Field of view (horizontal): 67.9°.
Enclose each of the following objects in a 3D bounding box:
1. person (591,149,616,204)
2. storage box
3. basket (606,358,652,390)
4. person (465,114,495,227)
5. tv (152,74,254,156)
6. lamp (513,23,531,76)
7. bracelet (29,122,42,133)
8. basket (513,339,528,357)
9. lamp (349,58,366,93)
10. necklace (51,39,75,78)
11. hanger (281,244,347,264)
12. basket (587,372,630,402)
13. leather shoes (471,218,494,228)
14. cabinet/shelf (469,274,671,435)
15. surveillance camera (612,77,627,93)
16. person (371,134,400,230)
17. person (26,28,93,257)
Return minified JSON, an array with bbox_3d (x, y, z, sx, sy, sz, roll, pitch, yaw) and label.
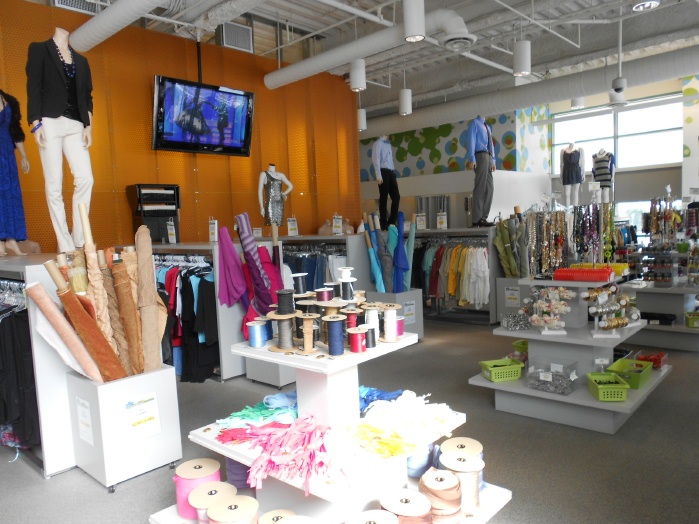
[{"bbox_3d":[4.383,-1.477,8.941,0.362,0.916,1.623,3,12,26],"label":"person"},{"bbox_3d":[-1.781,1.177,4.338,0.846,1.209,0.852,0,4,37],"label":"storage box"},{"bbox_3d":[2.638,1.012,4.827,0.255,0.141,0.384,1,2,42],"label":"basket"},{"bbox_3d":[2.201,-1.517,8.657,0.408,1.793,0.738,1,11,14],"label":"person"},{"bbox_3d":[-2.521,-2.454,8.717,1.533,0.953,0.201,-4,12,-45],"label":"tv"},{"bbox_3d":[2.690,-3.211,8.086,0.237,0.519,0.270,1,11,14],"label":"lamp"},{"bbox_3d":[-3.104,-1.351,5.165,0.090,0.104,0.083,43,-5,-26],"label":"bracelet"},{"bbox_3d":[1.813,0.909,5.467,0.132,0.078,0.166,6,9,42],"label":"basket"},{"bbox_3d":[0.138,-3.033,8.363,0.231,0.505,0.330,-3,11,-3],"label":"lamp"},{"bbox_3d":[-2.834,-2.036,5.215,0.064,0.267,0.182,-26,11,-14],"label":"necklace"},{"bbox_3d":[-0.544,-0.154,7.817,0.886,0.205,1.621,-3,11,-6],"label":"hanger"},{"bbox_3d":[2.212,1.044,4.479,0.207,0.117,0.291,0,8,2],"label":"basket"},{"bbox_3d":[2.228,-0.647,8.657,0.350,0.158,0.141,-3,2,27],"label":"leather shoes"},{"bbox_3d":[2.209,0.649,5.042,1.416,1.144,1.438,2,4,36],"label":"cabinet/shelf"},{"bbox_3d":[4.790,-3.159,9.198,0.225,0.200,0.275,3,12,25],"label":"surveillance camera"},{"bbox_3d":[0.677,-1.461,9.500,0.437,1.643,1.267,-1,11,4],"label":"person"},{"bbox_3d":[-2.865,-1.244,5.246,0.608,2.161,0.412,-9,13,-30],"label":"person"}]
